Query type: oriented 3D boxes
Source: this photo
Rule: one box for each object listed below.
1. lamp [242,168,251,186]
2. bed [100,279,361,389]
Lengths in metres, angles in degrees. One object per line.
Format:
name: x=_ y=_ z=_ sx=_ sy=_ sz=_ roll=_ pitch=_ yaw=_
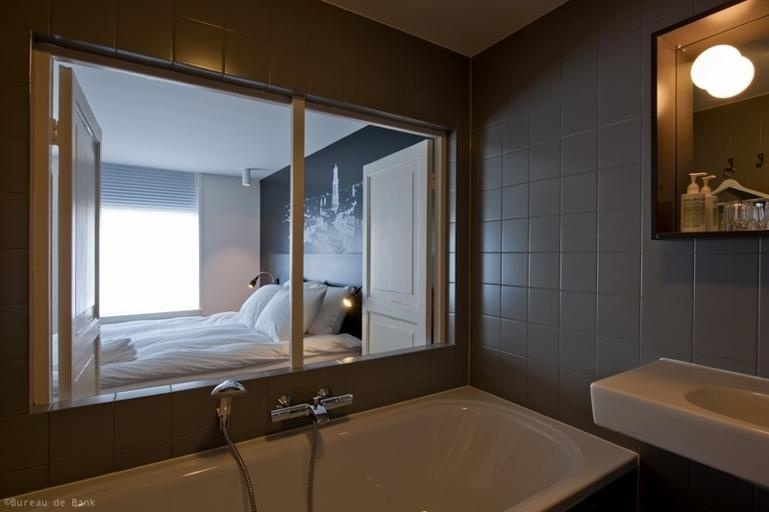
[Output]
lamp: x=-1.438 y=-0.838 z=5.459 sx=0.086 sy=0.179 sz=0.266 roll=-2 pitch=16 yaw=-15
bed: x=-1.263 y=0.520 z=4.190 sx=1.810 sy=0.451 sz=1.275 roll=-6 pitch=17 yaw=-27
